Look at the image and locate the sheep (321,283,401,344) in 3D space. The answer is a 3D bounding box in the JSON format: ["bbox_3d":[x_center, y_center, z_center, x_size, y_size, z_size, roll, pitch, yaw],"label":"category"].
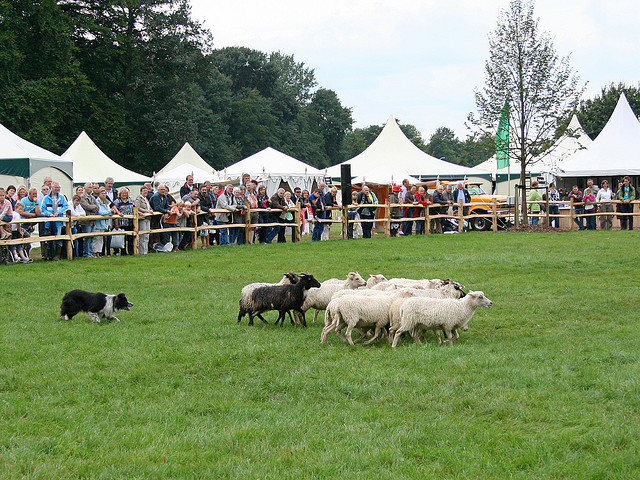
[{"bbox_3d":[1.065,1.792,20.336,1.863,1.096,0.457,0,-1,-32],"label":"sheep"}]

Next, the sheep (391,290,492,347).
[{"bbox_3d":[2.561,1.706,19.842,1.974,1.183,0.599,0,0,4],"label":"sheep"}]

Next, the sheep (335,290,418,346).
[{"bbox_3d":[1.215,1.713,20.205,1.955,1.340,0.622,0,6,-11],"label":"sheep"}]

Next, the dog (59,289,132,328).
[{"bbox_3d":[-5.008,1.556,20.541,1.808,1.017,0.633,3,5,-8],"label":"dog"}]

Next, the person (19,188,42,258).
[{"bbox_3d":[-8.603,-0.523,27.625,0.632,2.056,1.496,0,0,-17],"label":"person"}]

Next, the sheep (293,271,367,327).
[{"bbox_3d":[0.235,1.377,21.307,1.691,1.157,0.625,-3,3,1],"label":"sheep"}]
